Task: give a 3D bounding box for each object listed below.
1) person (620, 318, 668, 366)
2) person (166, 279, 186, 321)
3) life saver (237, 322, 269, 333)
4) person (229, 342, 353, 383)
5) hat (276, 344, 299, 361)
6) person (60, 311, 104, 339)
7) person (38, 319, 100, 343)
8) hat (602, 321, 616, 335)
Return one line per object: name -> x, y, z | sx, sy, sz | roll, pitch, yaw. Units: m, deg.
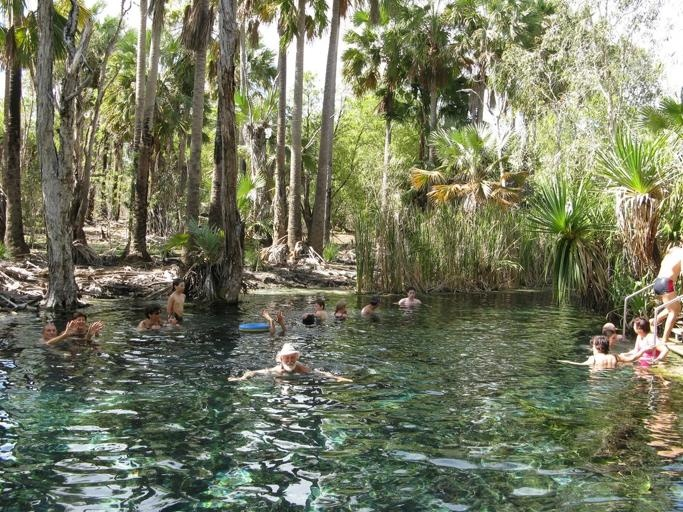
person -> 5.262, 1.461, 11.258 | 0.779, 0.949, 0.729 | -2, 9, 14
person -> -3.561, 0.963, 13.871 | 0.351, 0.887, 1.409 | -1, 8, -15
life saver -> -1.744, 1.394, 12.899 | 0.587, 0.170, 0.432 | 0, 8, -11
person -> -0.789, 1.584, 9.887 | 1.834, 0.470, 0.667 | 1, 8, -3
hat -> -0.808, 1.495, 9.944 | 0.271, 0.311, 0.365 | -2, 9, -22
person -> -4.787, 1.324, 11.962 | 0.560, 0.513, 0.761 | -1, 1, -25
person -> -4.947, 1.322, 11.812 | 0.997, 0.411, 0.844 | -3, 9, -26
hat -> 5.060, 1.398, 12.220 | 0.251, 0.335, 0.256 | -5, 9, 17
